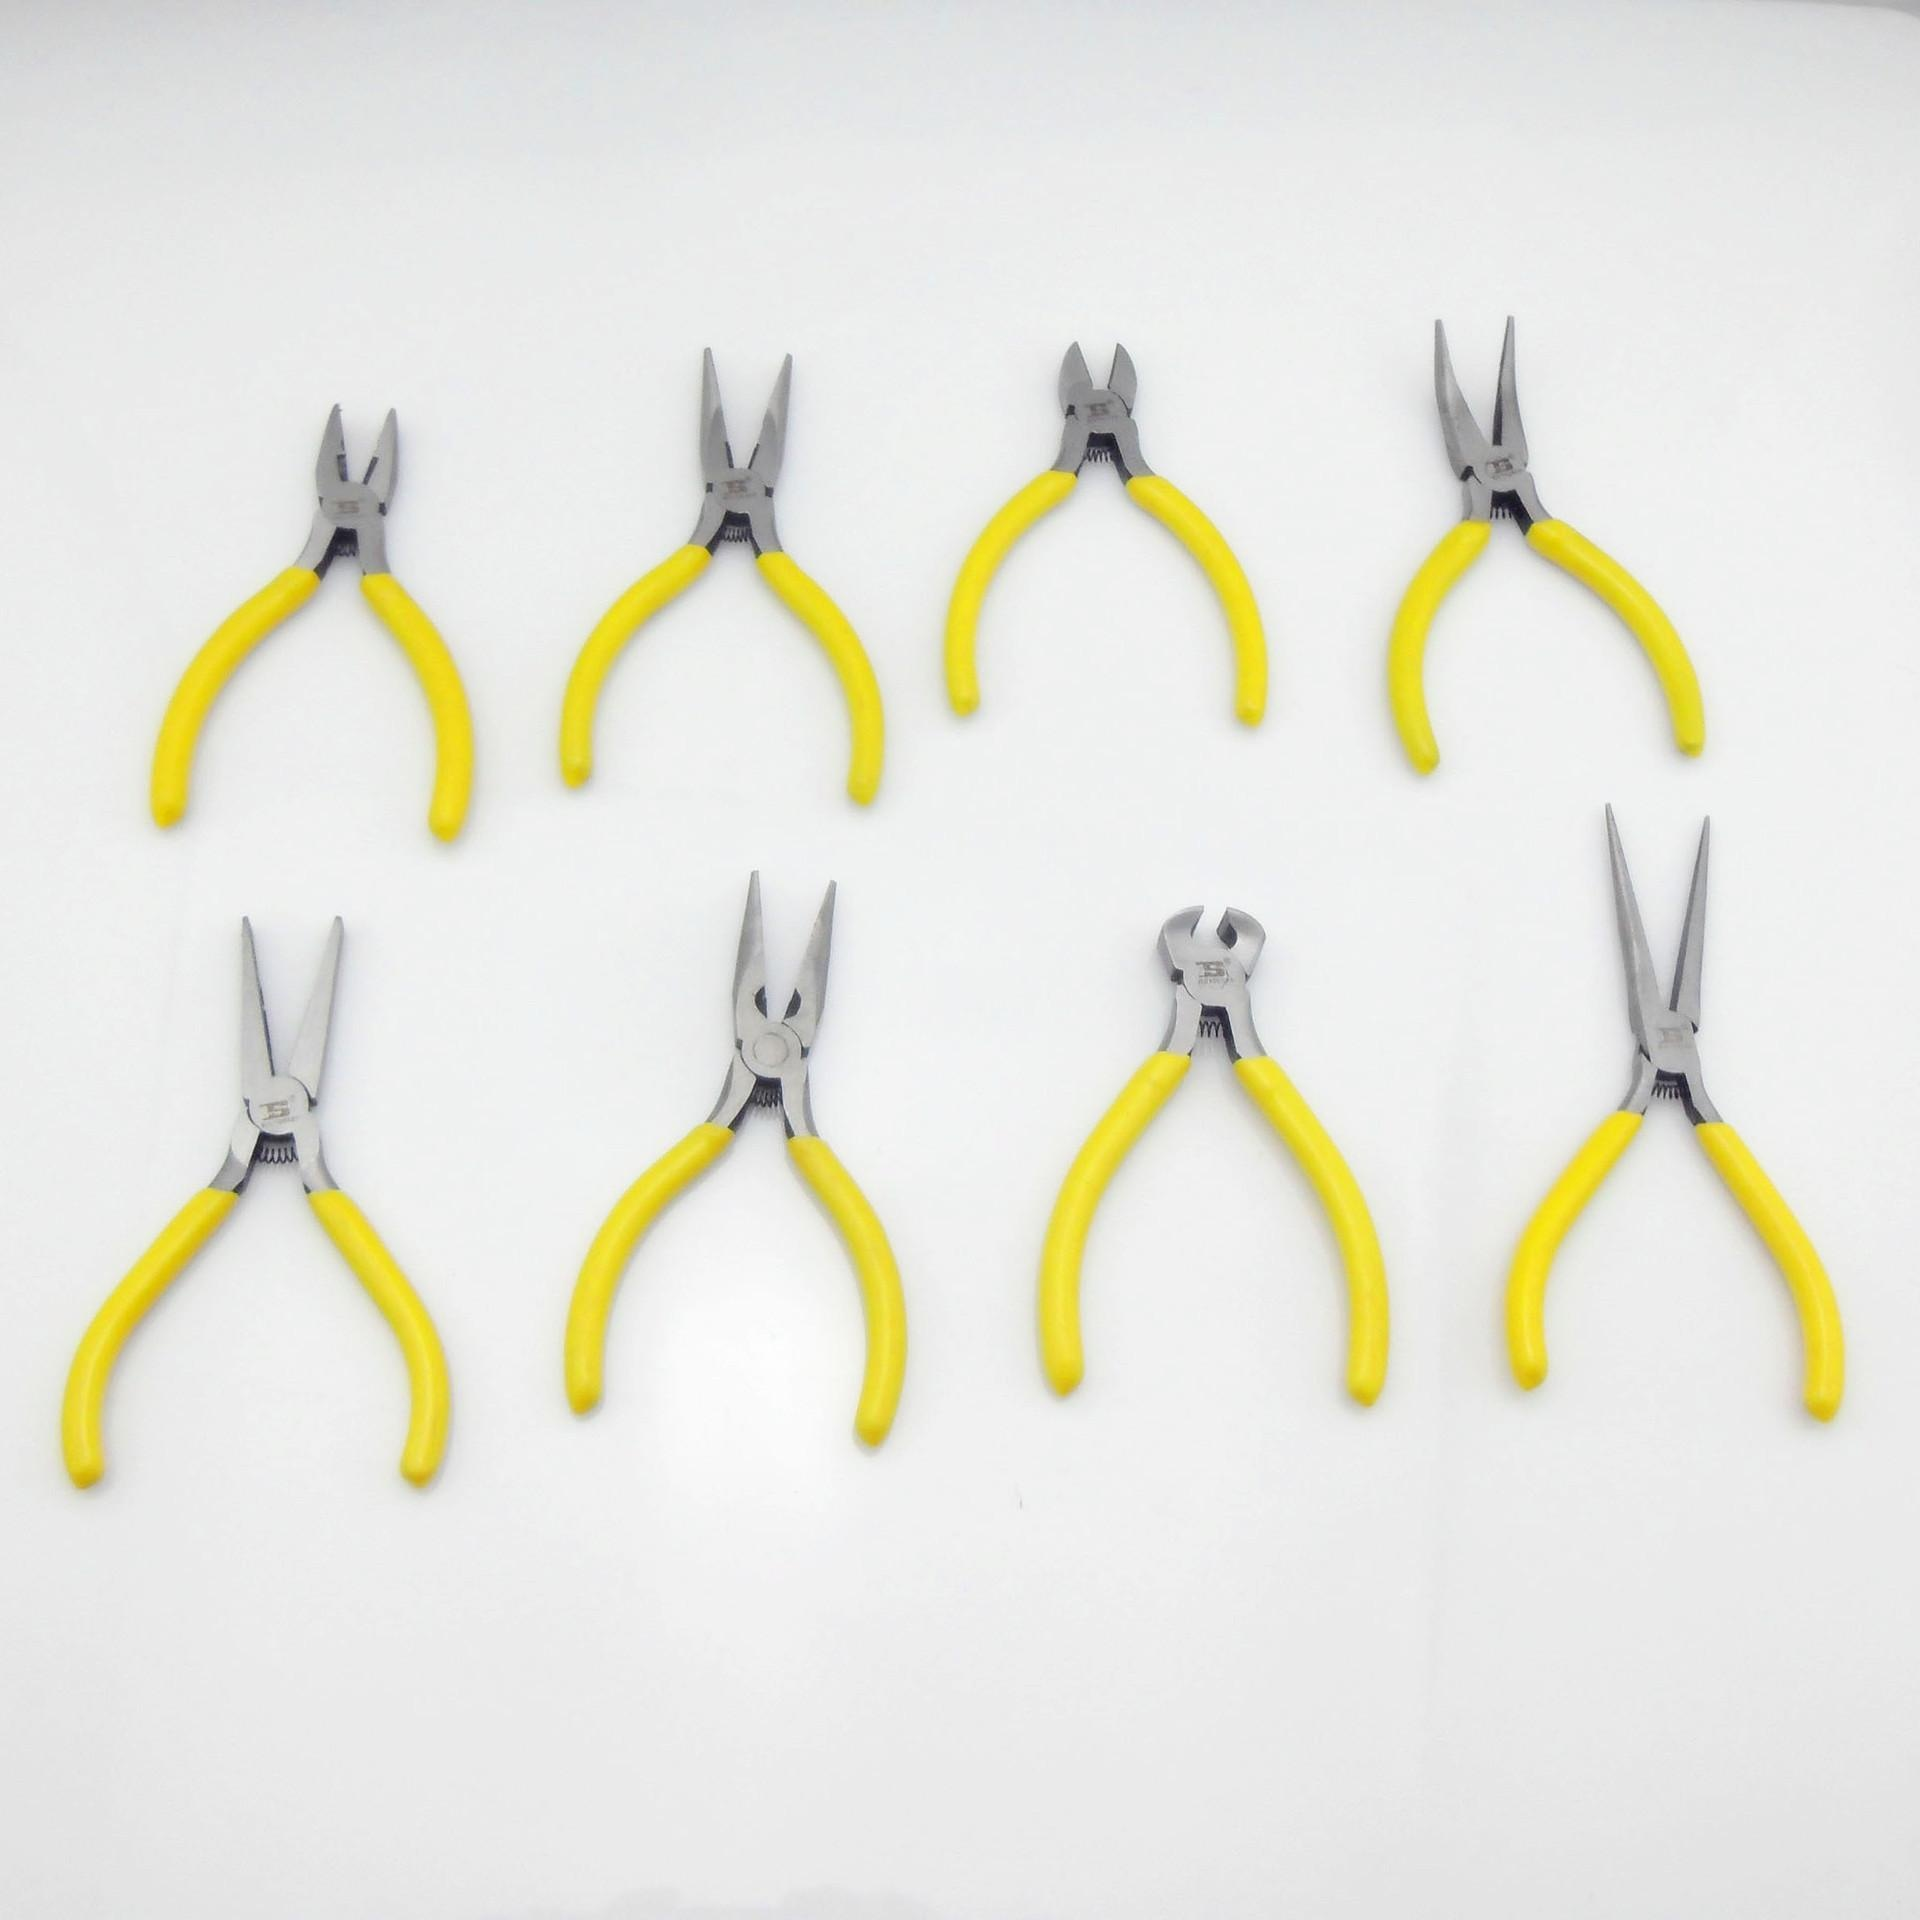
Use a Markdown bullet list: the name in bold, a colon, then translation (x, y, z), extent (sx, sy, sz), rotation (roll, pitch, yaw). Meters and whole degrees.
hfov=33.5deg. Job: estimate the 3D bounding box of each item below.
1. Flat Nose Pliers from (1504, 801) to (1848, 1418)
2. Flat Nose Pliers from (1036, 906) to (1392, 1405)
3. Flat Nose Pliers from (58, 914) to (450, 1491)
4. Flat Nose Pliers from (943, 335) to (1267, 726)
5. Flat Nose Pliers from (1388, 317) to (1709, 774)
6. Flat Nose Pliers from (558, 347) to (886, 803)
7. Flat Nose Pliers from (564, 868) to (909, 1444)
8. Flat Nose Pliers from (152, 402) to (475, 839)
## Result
- **Flat Nose Pliers**: translation (0.527, 0.120, 2.397), extent (0.229, 0.567, 0.046), rotation (3, -43, 9)
- **Flat Nose Pliers**: translation (0.170, 0.159, 2.331), extent (0.254, 0.468, 0.054), rotation (-12, -41, 4)
- **Flat Nose Pliers**: translation (-0.504, 0.166, 2.380), extent (0.274, 0.573, 0.048), rotation (2, -45, -7)
- **Flat Nose Pliers**: translation (0.086, -0.303, 2.436), extent (0.253, 0.396, 0.040), rotation (-10, -31, -11)
- **Flat Nose Pliers**: translation (0.427, -0.306, 2.446), extent (0.206, 0.457, 0.042), rotation (8, -33, 6)
- **Flat Nose Pliers**: translation (-0.170, -0.311, 2.447), extent (0.230, 0.052, 0.425), rotation (4, -35, -5)
- **Flat Nose Pliers**: translation (-0.152, 0.145, 2.367), extent (0.246, 0.538, 0.062), rotation (4, -43, -2)
- **Flat Nose Pliers**: translation (-0.482, -0.288, 2.450), extent (0.196, 0.039, 0.360), rotation (-2, -41, -18)
